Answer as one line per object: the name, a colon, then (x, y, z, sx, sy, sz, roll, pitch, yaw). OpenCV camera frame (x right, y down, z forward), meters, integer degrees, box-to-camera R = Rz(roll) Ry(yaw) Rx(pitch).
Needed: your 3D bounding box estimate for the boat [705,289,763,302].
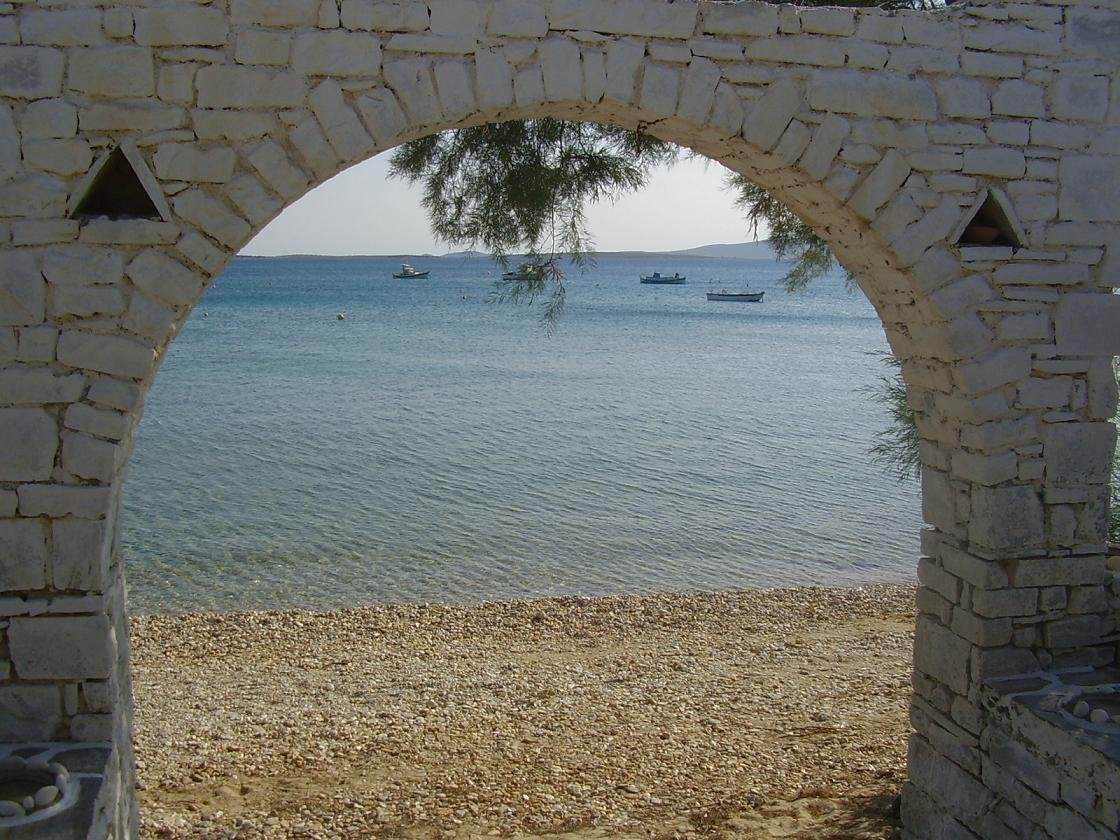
boat: (9.611, -6.642, 62.147, 3.229, 0.634, 1.959, -7, 13, -40)

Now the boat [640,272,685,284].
boat: (7.399, -10.056, 82.004, 2.575, 0.621, 2.663, -1, 10, -7)
